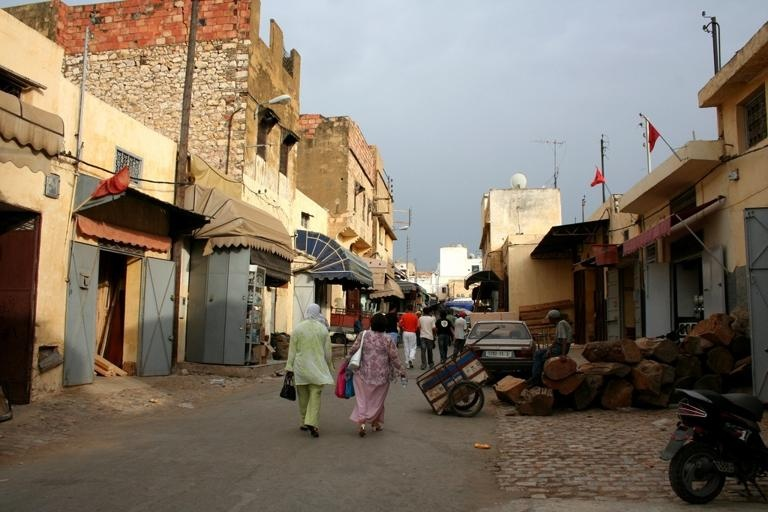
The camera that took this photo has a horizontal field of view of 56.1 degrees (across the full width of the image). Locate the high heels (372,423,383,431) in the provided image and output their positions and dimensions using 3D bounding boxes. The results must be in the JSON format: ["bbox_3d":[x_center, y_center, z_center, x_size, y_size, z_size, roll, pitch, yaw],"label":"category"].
[{"bbox_3d":[-0.129,3.121,13.194,0.093,0.100,0.247,2,3,12],"label":"high heels"}]

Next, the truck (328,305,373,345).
[{"bbox_3d":[-1.494,3.093,31.866,2.165,1.663,1.352,-2,-2,0],"label":"truck"}]

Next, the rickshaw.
[{"bbox_3d":[1.567,2.638,14.959,1.554,1.087,1.069,-32,-7,0],"label":"rickshaw"}]

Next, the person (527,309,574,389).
[{"bbox_3d":[3.810,1.978,16.357,1.490,2.180,0.932,2,0,3],"label":"person"}]

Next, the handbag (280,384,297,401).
[{"bbox_3d":[-1.780,2.495,13.334,0.262,0.317,0.351,0,2,-8],"label":"handbag"}]

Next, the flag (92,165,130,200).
[{"bbox_3d":[-6.072,-1.583,16.064,0.571,0.782,0.237,39,-5,16],"label":"flag"}]

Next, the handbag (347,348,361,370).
[{"bbox_3d":[-0.550,1.889,13.216,0.148,0.305,0.371,41,-3,-4],"label":"handbag"}]

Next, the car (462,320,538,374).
[{"bbox_3d":[3.071,2.369,18.963,1.931,1.462,3.506,-1,-3,6],"label":"car"}]

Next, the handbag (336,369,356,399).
[{"bbox_3d":[-0.735,2.332,13.239,0.374,0.502,0.210,2,3,29],"label":"handbag"}]
